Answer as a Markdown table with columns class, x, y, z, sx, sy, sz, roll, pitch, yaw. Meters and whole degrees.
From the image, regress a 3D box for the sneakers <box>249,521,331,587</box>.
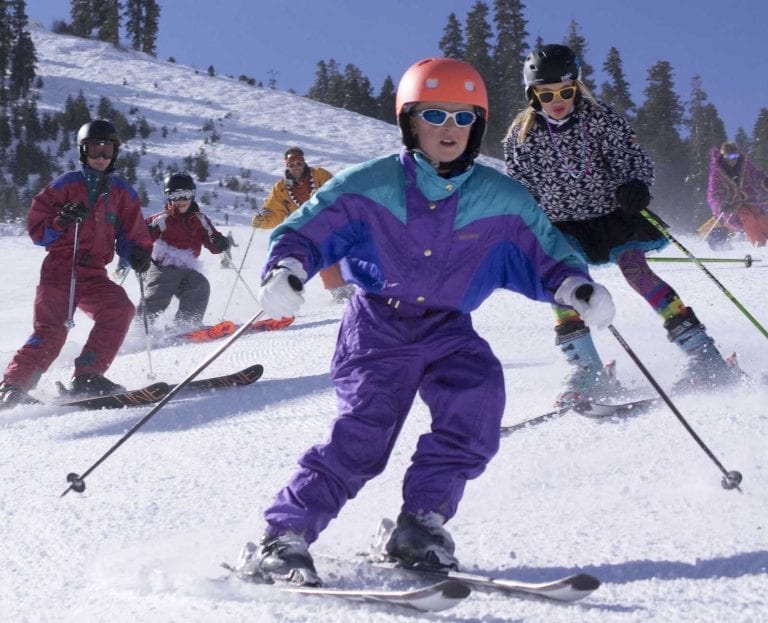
| class | x | y | z | sx | sy | sz | roll | pitch | yaw |
| --- | --- | --- | --- | --- | --- | --- | --- | --- | --- |
| sneakers | -0.419 | 0.989 | 3.212 | 0.141 | 0.172 | 0.388 | 32 | -24 | -36 |

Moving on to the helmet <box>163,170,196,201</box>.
| class | x | y | z | sx | sy | sz | roll | pitch | yaw |
| --- | --- | --- | --- | --- | --- | --- | --- | --- | --- |
| helmet | -2.431 | -1.495 | 9.547 | 0.343 | 0.321 | 0.329 | -6 | 13 | -15 |

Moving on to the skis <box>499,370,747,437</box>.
| class | x | y | z | sx | sy | sz | roll | pitch | yaw |
| --- | --- | --- | --- | --- | --- | --- | --- | --- | --- |
| skis | 1.509 | 0.576 | 4.962 | 1.411 | 0.149 | 0.146 | -13 | -40 | -3 |

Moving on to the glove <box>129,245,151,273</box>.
| class | x | y | z | sx | sy | sz | roll | pitch | yaw |
| --- | --- | --- | --- | --- | --- | --- | --- | --- | --- |
| glove | -2.013 | -0.462 | 6.652 | 0.085 | 0.224 | 0.172 | -30 | -42 | 33 |

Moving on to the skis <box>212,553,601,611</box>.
| class | x | y | z | sx | sy | sz | roll | pitch | yaw |
| --- | --- | --- | --- | --- | --- | --- | --- | --- | --- |
| skis | 0.079 | 1.076 | 3.165 | 1.278 | 0.100 | 0.141 | 1 | -23 | 17 |

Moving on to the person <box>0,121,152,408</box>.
| class | x | y | z | sx | sy | sz | roll | pitch | yaw |
| --- | --- | --- | --- | --- | --- | --- | --- | --- | --- |
| person | -2.506 | -0.454 | 6.534 | 1.383 | 2.185 | 0.750 | -12 | 15 | -35 |

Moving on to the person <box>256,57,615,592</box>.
| class | x | y | z | sx | sy | sz | roll | pitch | yaw |
| --- | --- | --- | --- | --- | --- | --- | --- | --- | --- |
| person | 0.112 | -0.052 | 3.537 | 1.656 | 2.090 | 0.828 | -10 | 14 | -30 |

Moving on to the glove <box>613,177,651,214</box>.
| class | x | y | z | sx | sy | sz | roll | pitch | yaw |
| --- | --- | --- | --- | --- | --- | --- | --- | --- | --- |
| glove | 1.536 | -0.716 | 4.885 | 0.189 | 0.202 | 0.069 | 19 | 15 | 7 |

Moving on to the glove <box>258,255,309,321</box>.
| class | x | y | z | sx | sy | sz | roll | pitch | yaw |
| --- | --- | --- | --- | --- | --- | --- | --- | --- | --- |
| glove | -0.434 | -0.100 | 3.453 | 0.197 | 0.263 | 0.122 | 11 | -28 | 49 |

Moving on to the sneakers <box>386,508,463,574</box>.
| class | x | y | z | sx | sy | sz | roll | pitch | yaw |
| --- | --- | --- | --- | --- | --- | --- | --- | --- | --- |
| sneakers | 0.155 | 0.957 | 3.365 | 0.406 | 0.202 | 0.148 | 12 | -23 | -3 |

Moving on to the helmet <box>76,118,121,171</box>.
| class | x | y | z | sx | sy | sz | roll | pitch | yaw |
| --- | --- | --- | --- | --- | --- | --- | --- | --- | --- |
| helmet | -2.389 | -1.404 | 6.697 | 0.412 | 0.501 | 0.446 | -3 | 12 | -30 |

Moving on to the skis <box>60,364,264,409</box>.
| class | x | y | z | sx | sy | sz | roll | pitch | yaw |
| --- | --- | --- | --- | --- | --- | --- | --- | --- | --- |
| skis | -1.732 | 0.598 | 6.322 | 1.666 | 0.121 | 0.181 | -13 | -12 | -25 |

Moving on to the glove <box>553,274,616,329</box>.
| class | x | y | z | sx | sy | sz | roll | pitch | yaw |
| --- | --- | --- | --- | --- | --- | --- | --- | --- | --- |
| glove | 0.945 | -0.043 | 3.697 | 0.267 | 0.202 | 0.121 | 39 | -10 | -7 |

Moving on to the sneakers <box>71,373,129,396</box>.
| class | x | y | z | sx | sy | sz | roll | pitch | yaw |
| --- | --- | --- | --- | --- | --- | --- | --- | --- | --- |
| sneakers | -2.329 | 0.590 | 6.538 | 0.517 | 0.212 | 0.168 | 0 | 0 | -13 |

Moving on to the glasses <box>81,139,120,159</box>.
| class | x | y | z | sx | sy | sz | roll | pitch | yaw |
| --- | --- | --- | --- | --- | --- | --- | --- | --- | --- |
| glasses | -2.359 | -1.356 | 6.624 | 0.217 | 0.119 | 0.254 | -1 | 0 | -29 |

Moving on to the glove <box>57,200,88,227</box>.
| class | x | y | z | sx | sy | sz | roll | pitch | yaw |
| --- | --- | --- | --- | --- | --- | --- | --- | --- | --- |
| glove | -2.471 | -0.798 | 6.373 | 0.228 | 0.175 | 0.062 | 52 | -1 | 44 |
